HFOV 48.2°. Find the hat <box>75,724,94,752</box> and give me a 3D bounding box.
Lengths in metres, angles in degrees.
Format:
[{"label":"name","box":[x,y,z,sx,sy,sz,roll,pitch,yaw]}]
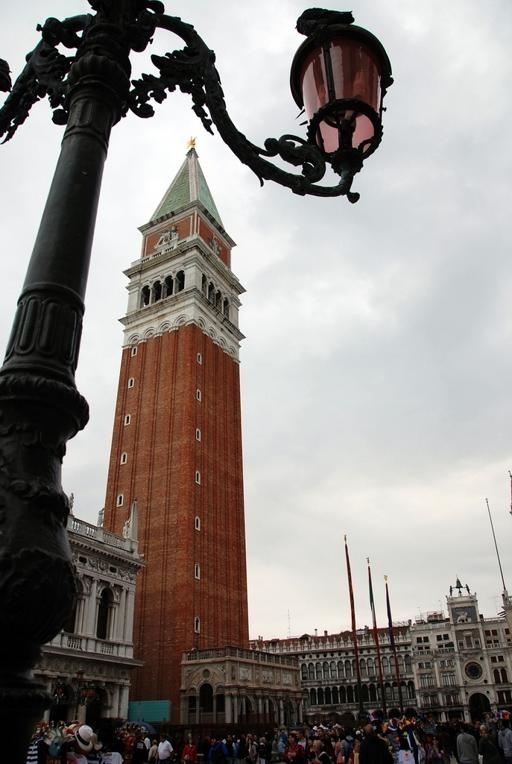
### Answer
[{"label":"hat","box":[-1.486,3.067,4.948,0.180,0.243,0.236,5,-31,-20]}]
